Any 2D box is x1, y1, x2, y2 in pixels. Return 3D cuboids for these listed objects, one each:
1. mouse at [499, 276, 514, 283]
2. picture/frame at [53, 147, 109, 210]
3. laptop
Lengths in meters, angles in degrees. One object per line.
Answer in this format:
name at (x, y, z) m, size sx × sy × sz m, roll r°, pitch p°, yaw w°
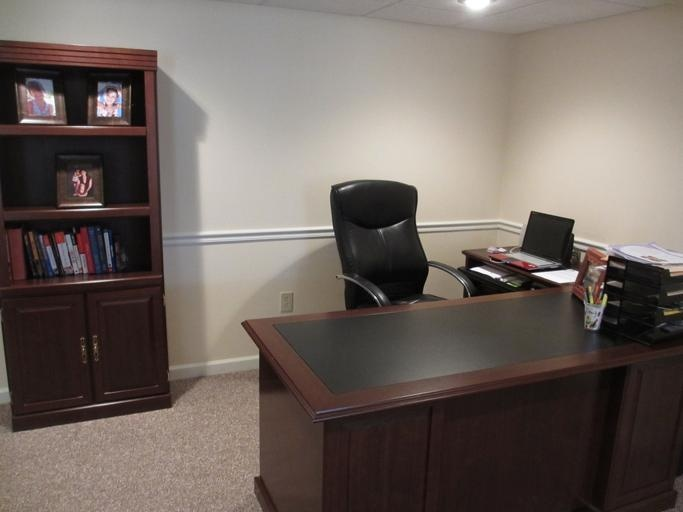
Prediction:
mouse at (1.048, 0.149, 3.200) m, size 0.040 × 0.047 × 0.045 m, roll -4°, pitch 34°, yaw -12°
picture/frame at (-1.479, -0.423, 2.822) m, size 0.249 × 0.297 × 0.137 m, roll -8°, pitch 14°, yaw -20°
laptop at (1.273, -0.074, 3.362) m, size 0.423 × 0.343 × 0.480 m, roll -9°, pitch 16°, yaw -20°
